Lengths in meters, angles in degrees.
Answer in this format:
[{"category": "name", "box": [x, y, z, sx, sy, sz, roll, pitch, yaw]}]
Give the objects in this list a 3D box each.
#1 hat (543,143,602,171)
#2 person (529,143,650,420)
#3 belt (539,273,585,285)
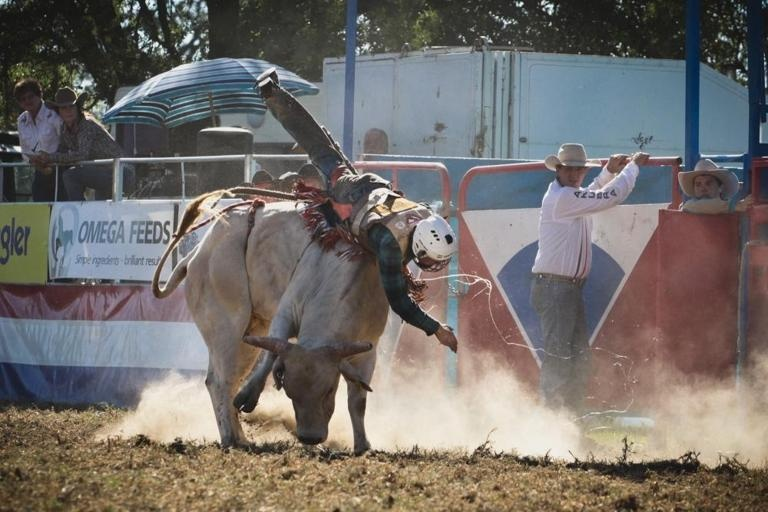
[{"category": "hat", "box": [2.858, -1.523, 19.284, 0.624, 0.272, 0.695, 7, -17, -3]}, {"category": "person", "box": [2.690, 0.311, 17.786, 1.164, 3.682, 1.068, -5, 14, -25]}, {"category": "belt", "box": [2.497, 0.312, 17.715, 0.667, 0.157, 0.134, 2, 13, 3]}]
